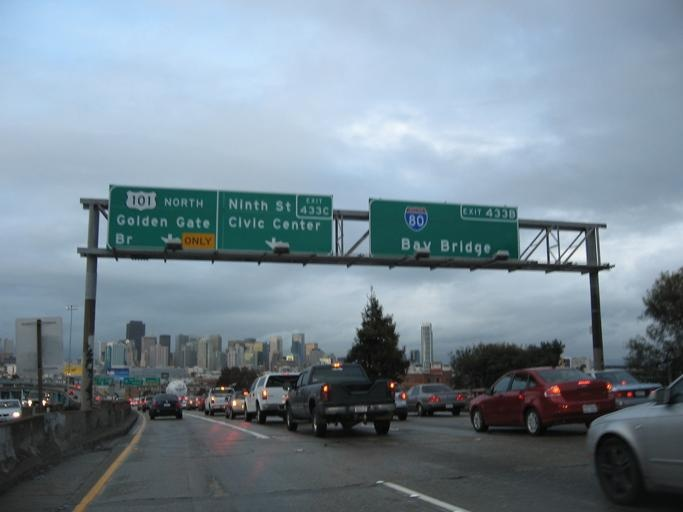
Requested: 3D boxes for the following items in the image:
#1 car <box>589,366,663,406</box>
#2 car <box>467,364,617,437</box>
[{"bbox_3d":[8.176,3.778,21.687,1.035,0.883,2.452,0,-7,-3],"label":"car"},{"bbox_3d":[5.311,4.026,20.458,1.537,1.397,3.618,4,-12,-20],"label":"car"}]
